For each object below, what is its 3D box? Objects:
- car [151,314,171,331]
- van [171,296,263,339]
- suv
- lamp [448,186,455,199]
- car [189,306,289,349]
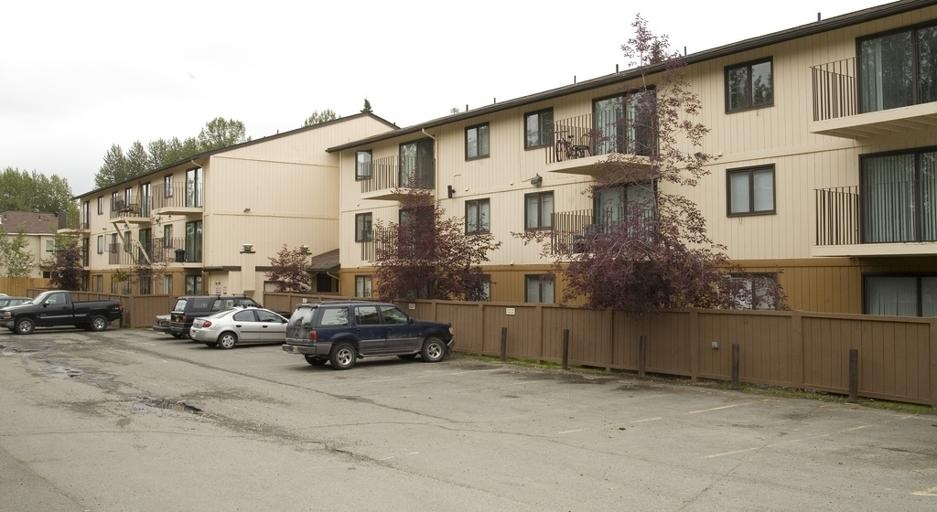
[{"bbox_3d":[-16.396,3.630,40.594,0.610,0.805,2.346,3,-7,-36],"label":"car"},{"bbox_3d":[-13.435,3.127,39.942,3.957,1.592,2.196,-1,-1,-31],"label":"van"},{"bbox_3d":[-4.123,3.182,31.834,6.034,2.283,2.818,-1,-1,-31],"label":"suv"},{"bbox_3d":[-0.999,-3.429,40.895,0.446,0.673,0.274,-5,-6,38],"label":"lamp"},{"bbox_3d":[-11.246,3.521,37.346,4.809,1.597,2.350,-1,1,-34],"label":"car"}]
